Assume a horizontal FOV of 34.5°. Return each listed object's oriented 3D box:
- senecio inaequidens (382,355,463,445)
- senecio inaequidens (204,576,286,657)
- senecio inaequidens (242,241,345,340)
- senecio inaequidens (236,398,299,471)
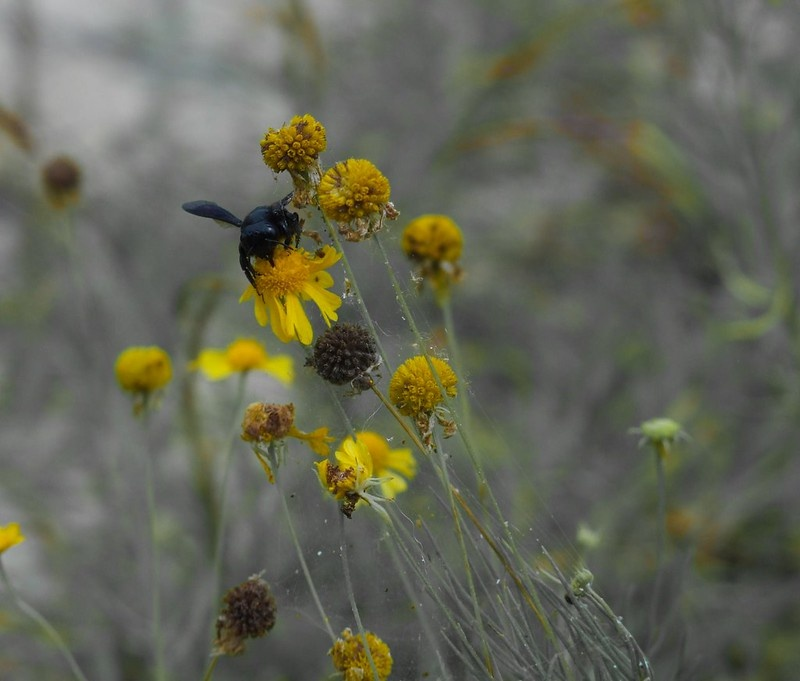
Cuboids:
[{"bbox_3d":[0.028,0.063,1.457,0.062,0.095,0.063,13,23,40],"label":"senecio inaequidens"},{"bbox_3d":[-0.178,0.301,1.504,0.073,0.118,0.055,-1,-1,-43],"label":"senecio inaequidens"},{"bbox_3d":[-0.123,-0.059,1.417,0.093,0.118,0.041,3,-3,-8],"label":"senecio inaequidens"},{"bbox_3d":[-0.148,0.103,1.499,0.061,0.084,0.059,-20,-5,41],"label":"senecio inaequidens"}]
